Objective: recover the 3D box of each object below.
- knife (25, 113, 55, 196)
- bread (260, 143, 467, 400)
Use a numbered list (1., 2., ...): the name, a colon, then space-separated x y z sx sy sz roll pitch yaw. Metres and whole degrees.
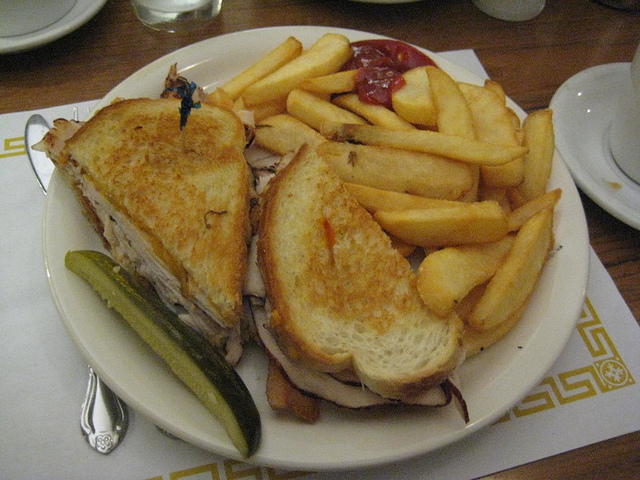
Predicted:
1. knife: -1.146 -0.265 2.447 0.088 0.676 0.087 -44 99 -27
2. bread: 0.063 0.110 2.097 0.559 0.219 0.993 -28 78 -17
